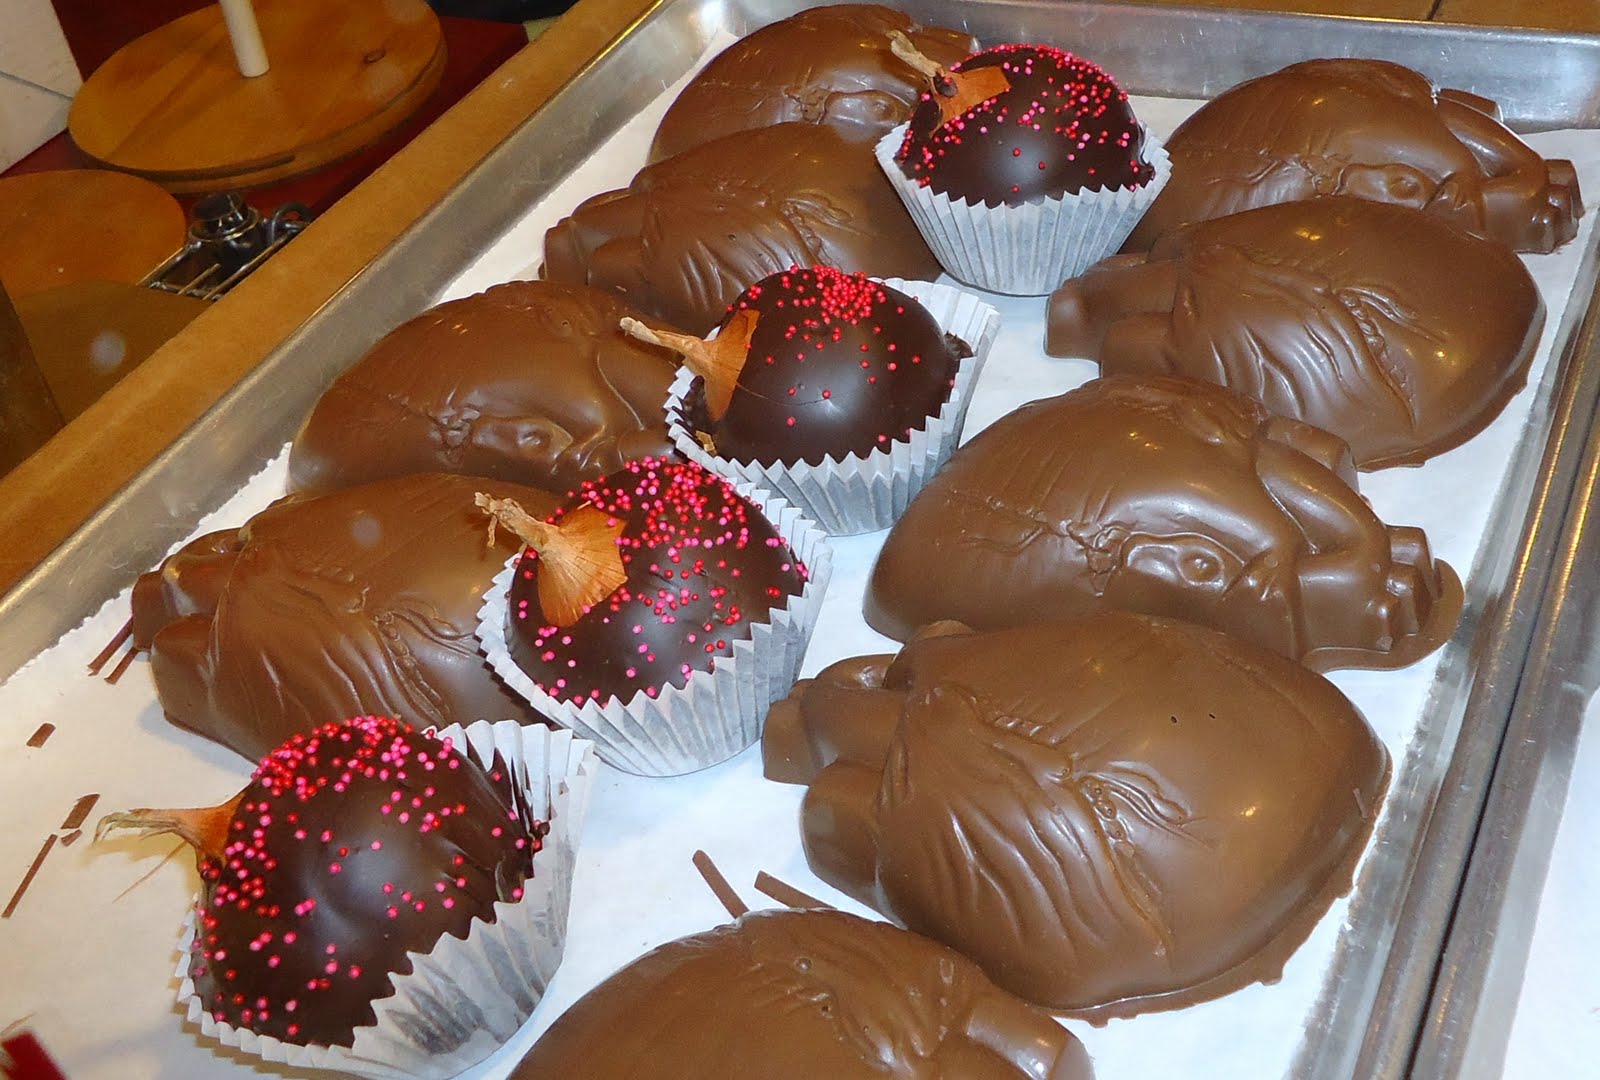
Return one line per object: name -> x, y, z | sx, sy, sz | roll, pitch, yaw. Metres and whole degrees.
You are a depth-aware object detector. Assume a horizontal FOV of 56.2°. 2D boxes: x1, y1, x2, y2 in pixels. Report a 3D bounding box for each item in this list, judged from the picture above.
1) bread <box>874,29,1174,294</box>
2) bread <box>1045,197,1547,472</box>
bread -> 0.340, -0.548, 2.261 | 0.380, 0.281, 0.378 | 17, 67, 21
bread -> 0.697, -0.261, 2.045 | 0.498, 0.159, 0.389 | 7, 63, 11
